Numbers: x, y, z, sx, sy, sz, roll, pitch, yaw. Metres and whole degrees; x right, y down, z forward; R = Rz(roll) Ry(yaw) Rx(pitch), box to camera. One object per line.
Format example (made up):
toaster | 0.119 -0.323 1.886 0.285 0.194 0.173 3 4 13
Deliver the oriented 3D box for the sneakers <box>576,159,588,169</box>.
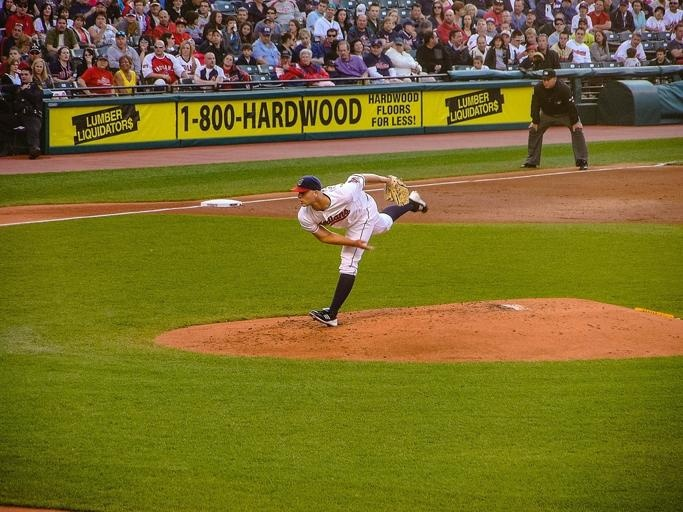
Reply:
sneakers | 5.278 -2.017 25.719 0.203 0.207 0.236 0 4 24

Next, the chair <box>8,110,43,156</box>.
chair | -7.300 -2.880 26.951 0.796 0.629 2.111 11 -8 -24

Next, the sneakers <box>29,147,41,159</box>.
sneakers | -7.124 -2.365 27.041 0.146 0.256 0.409 9 -23 -24

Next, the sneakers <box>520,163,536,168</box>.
sneakers | 4.225 -2.021 26.288 0.198 0.154 0.123 9 -3 39

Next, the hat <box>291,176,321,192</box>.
hat | -0.436 -0.882 14.401 0.349 0.155 0.238 1 7 -6
